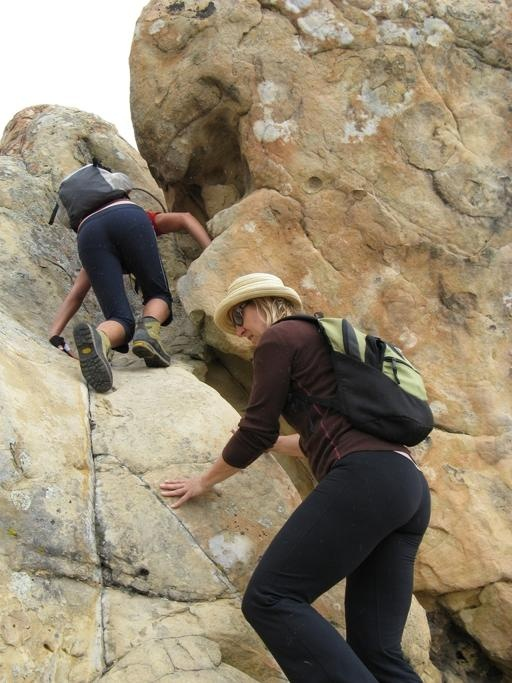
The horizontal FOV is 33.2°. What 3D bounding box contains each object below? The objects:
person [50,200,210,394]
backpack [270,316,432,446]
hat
[{"bbox_3d":[-0.640,-0.205,4.248,1.004,0.863,0.507,-106,170,-54],"label":"person"},{"bbox_3d":[0.293,0.153,2.881,0.629,0.475,0.385,-2,-26,19],"label":"backpack"},{"bbox_3d":[0.043,-0.134,2.999,0.264,0.217,0.092,4,52,-48],"label":"hat"}]
